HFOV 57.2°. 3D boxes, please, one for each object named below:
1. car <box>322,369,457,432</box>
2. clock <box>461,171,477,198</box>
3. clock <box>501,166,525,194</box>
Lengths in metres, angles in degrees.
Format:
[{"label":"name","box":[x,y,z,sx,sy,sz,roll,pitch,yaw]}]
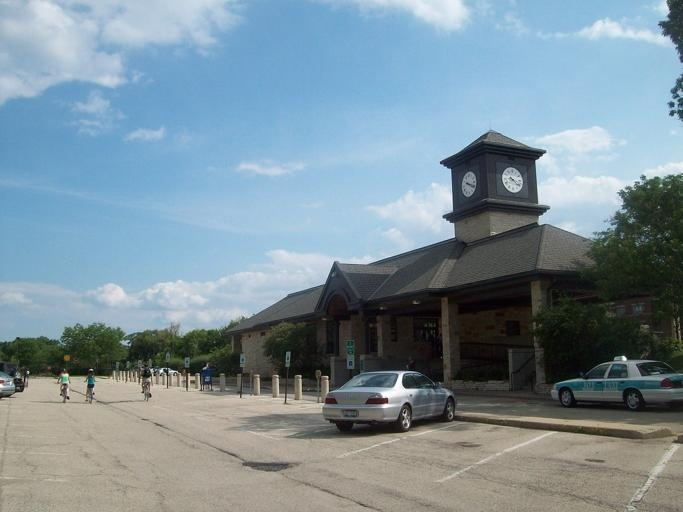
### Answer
[{"label":"car","box":[1.432,4.156,18.142,3.704,1.588,1.711,4,-8,-43]},{"label":"clock","box":[8.605,-4.778,41.988,0.123,1.998,1.935,5,-4,-17]},{"label":"clock","box":[11.266,-4.968,41.360,1.508,1.551,0.165,20,-20,-21]}]
